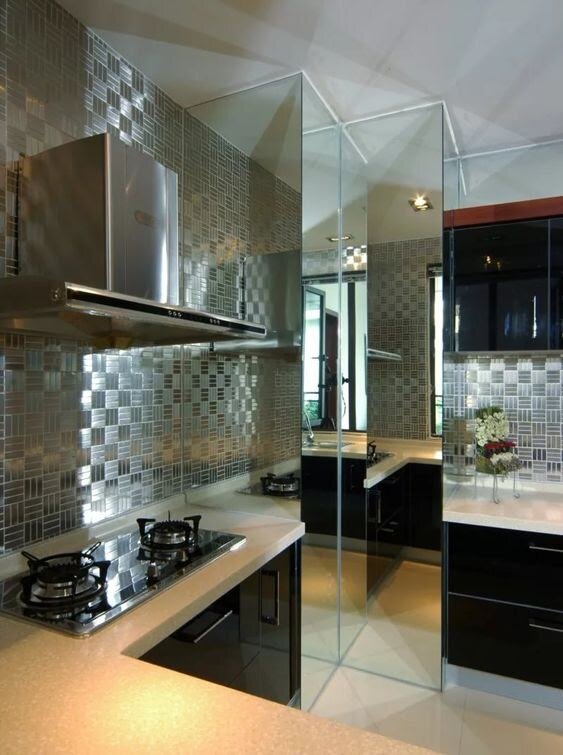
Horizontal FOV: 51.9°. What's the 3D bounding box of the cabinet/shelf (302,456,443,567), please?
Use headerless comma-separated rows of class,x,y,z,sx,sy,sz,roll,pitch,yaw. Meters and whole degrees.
cabinet/shelf,0.350,0.577,2.576,0.641,0.564,0.352,-3,3,-17
